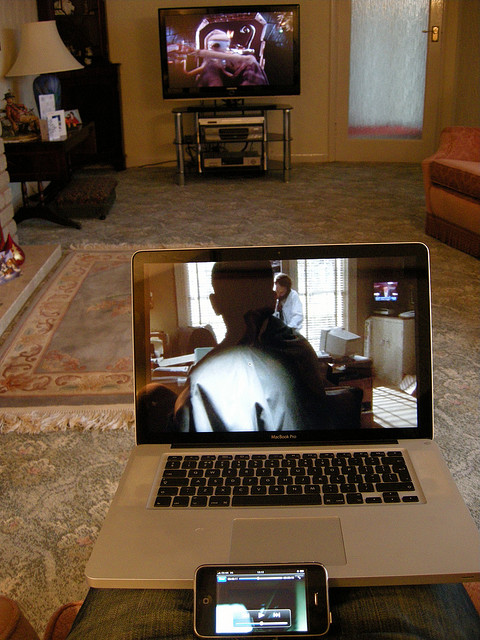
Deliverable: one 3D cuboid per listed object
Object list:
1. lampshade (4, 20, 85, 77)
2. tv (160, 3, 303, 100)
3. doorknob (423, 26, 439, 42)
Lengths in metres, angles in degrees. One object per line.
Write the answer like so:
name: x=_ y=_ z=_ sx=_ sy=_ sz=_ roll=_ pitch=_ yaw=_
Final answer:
lampshade: x=-1.500 y=-2.041 z=3.685 sx=0.552 sy=0.395 sz=0.253 roll=-10 pitch=20 yaw=-22
tv: x=-0.106 y=-2.574 z=4.701 sx=0.988 sy=0.608 sz=0.040 roll=-1 pitch=20 yaw=-2
doorknob: x=1.956 y=-2.921 z=5.043 sx=0.141 sy=0.144 sz=0.109 roll=0 pitch=33 yaw=10
